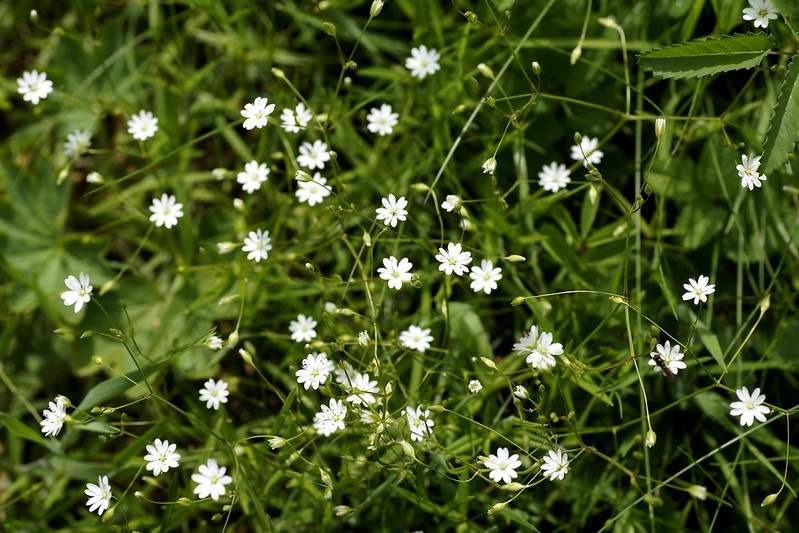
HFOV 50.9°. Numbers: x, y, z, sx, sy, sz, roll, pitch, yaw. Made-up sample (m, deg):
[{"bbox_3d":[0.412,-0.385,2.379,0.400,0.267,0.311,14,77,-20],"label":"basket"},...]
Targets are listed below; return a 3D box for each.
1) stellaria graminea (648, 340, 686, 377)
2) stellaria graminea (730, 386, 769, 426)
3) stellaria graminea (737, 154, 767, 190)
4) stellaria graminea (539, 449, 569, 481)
[{"bbox_3d":[0.785,0.272,2.475,0.096,0.118,0.123,9,69,10],"label":"stellaria graminea"},{"bbox_3d":[1.028,0.412,2.510,0.112,0.041,0.163,1,84,4],"label":"stellaria graminea"},{"bbox_3d":[1.056,-0.300,2.538,0.064,0.069,0.022,-4,60,53],"label":"stellaria graminea"},{"bbox_3d":[0.454,0.583,2.465,0.082,0.089,0.086,-4,67,5],"label":"stellaria graminea"}]
